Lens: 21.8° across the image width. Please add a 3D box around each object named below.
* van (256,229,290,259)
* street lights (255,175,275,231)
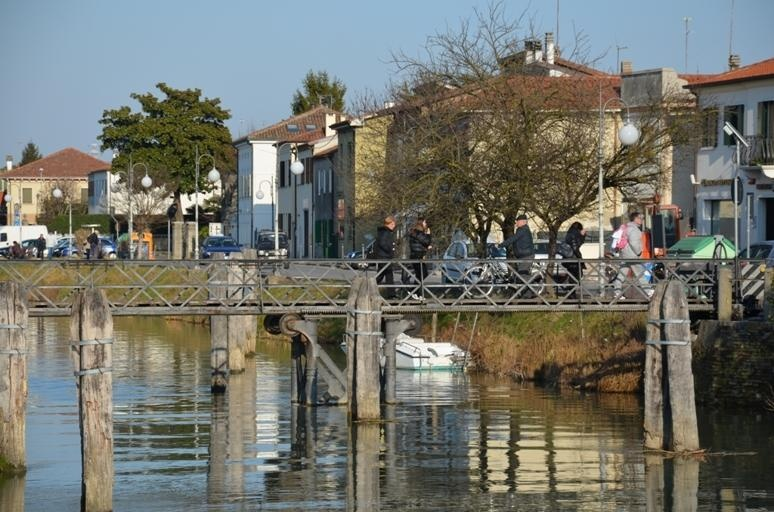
[{"bbox_3d":[-6.103,-0.571,105.967,1.683,1.775,3.091,0,-6,-6],"label":"van"},{"bbox_3d":[-6.552,-2.629,108.225,0.929,3.062,0.438,-11,-9,14],"label":"street lights"}]
